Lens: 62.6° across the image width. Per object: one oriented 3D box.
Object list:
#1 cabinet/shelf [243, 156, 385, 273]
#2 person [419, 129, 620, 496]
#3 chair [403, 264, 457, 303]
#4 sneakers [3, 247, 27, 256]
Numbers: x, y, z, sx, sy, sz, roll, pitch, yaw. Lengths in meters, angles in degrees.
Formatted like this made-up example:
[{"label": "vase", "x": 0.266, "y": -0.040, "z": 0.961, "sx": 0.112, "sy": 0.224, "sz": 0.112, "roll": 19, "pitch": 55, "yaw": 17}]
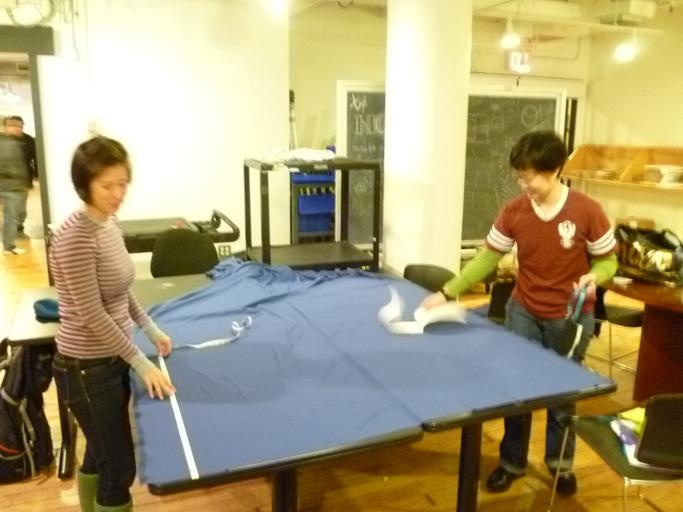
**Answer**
[{"label": "cabinet/shelf", "x": -0.262, "y": -0.363, "z": 4.548, "sx": 1.029, "sy": 0.861, "sz": 1.397, "roll": -3, "pitch": 9, "yaw": -10}, {"label": "person", "x": 0.901, "y": 0.365, "z": 2.925, "sx": 0.988, "sy": 1.924, "sz": 0.792, "roll": -2, "pitch": 10, "yaw": 10}, {"label": "chair", "x": 0.557, "y": 0.142, "z": 3.570, "sx": 0.251, "sy": 0.210, "sz": 0.220, "roll": -8, "pitch": 3, "yaw": 7}, {"label": "sneakers", "x": -4.284, "y": -0.066, "z": 7.382, "sx": 0.182, "sy": 0.073, "sz": 0.095, "roll": -2, "pitch": 9, "yaw": -29}]
